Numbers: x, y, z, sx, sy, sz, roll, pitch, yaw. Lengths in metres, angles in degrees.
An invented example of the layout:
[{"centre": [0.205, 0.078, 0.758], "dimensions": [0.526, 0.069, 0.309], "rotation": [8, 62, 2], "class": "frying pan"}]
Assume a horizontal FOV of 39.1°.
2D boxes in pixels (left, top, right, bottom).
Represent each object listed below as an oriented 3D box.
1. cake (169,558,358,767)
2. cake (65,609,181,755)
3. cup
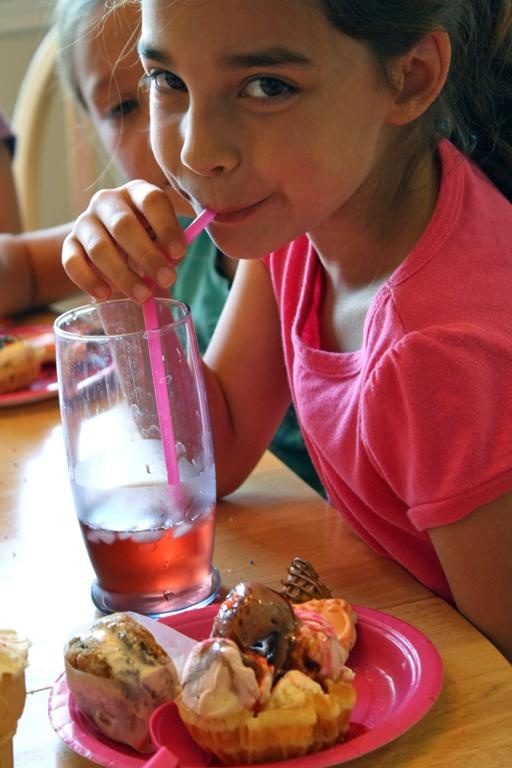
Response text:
[{"centre": [0.010, 0.159, 0.436], "dimensions": [0.075, 0.062, 0.118], "rotation": [0, 13, 20], "class": "cake"}, {"centre": [-0.077, 0.174, 0.431], "dimensions": [0.063, 0.045, 0.085], "rotation": [-18, 37, -34], "class": "cake"}, {"centre": [-0.099, 0.055, 0.610], "dimensions": [0.121, 0.242, 0.149], "rotation": [-5, 14, -5], "class": "cup"}]
